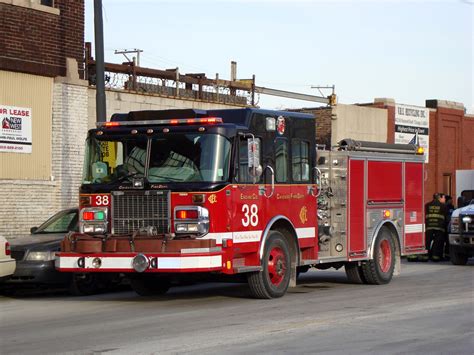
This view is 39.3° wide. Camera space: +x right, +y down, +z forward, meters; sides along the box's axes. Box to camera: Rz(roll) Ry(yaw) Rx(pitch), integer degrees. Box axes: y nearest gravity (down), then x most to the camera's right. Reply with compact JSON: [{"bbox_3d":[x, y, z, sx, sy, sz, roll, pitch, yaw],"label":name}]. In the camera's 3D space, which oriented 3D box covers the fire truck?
[{"bbox_3d":[0.805,0.605,14.694,9.183,3.866,3.230,1,-4,-43],"label":"fire truck"}]
